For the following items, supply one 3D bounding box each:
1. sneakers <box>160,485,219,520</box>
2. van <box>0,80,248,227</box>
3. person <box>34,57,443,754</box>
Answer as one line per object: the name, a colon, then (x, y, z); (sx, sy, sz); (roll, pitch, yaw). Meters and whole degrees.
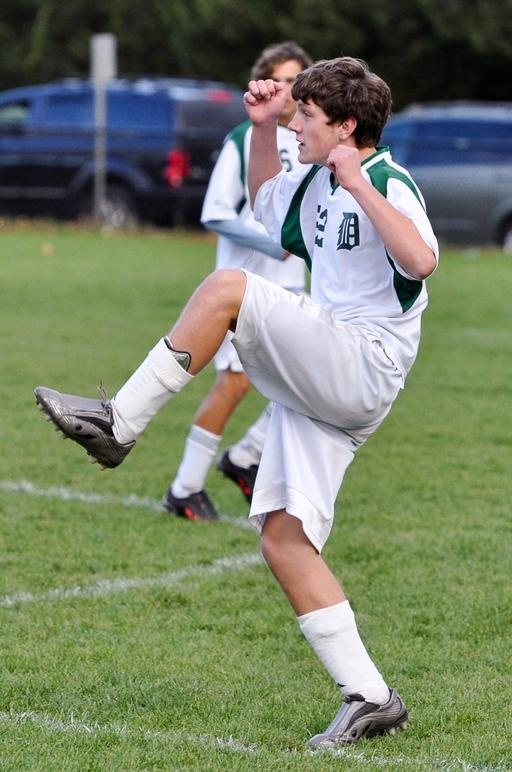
sneakers: (-0.251, 0.467, 3.794); (0.249, 0.099, 0.087); (14, 9, 19)
van: (-1.315, -2.276, 9.263); (2.778, 1.177, 1.498); (1, 11, -14)
person: (0.065, -0.009, 2.248); (0.747, 1.500, 0.795); (4, 12, 29)
